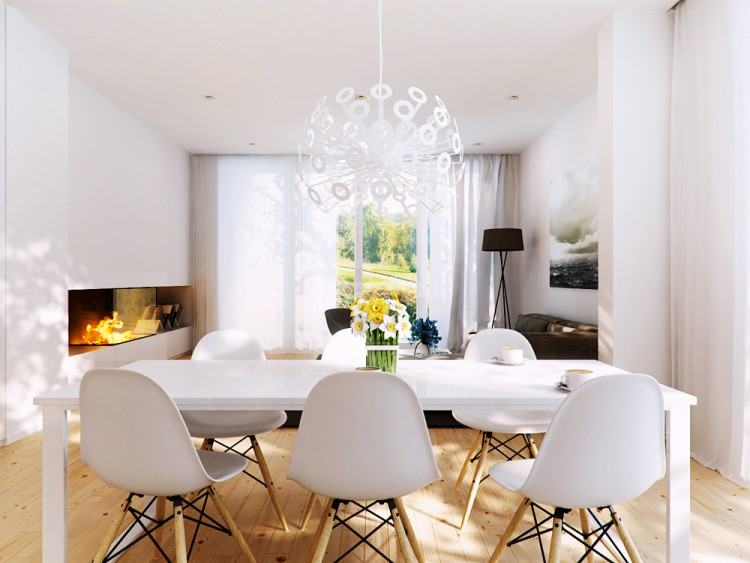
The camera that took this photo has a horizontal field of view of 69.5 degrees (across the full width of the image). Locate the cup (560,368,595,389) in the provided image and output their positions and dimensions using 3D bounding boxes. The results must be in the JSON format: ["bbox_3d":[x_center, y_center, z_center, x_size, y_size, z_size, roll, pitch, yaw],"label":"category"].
[{"bbox_3d":[1.006,0.474,2.698,0.128,0.110,0.108,-1,1,-5],"label":"cup"}]

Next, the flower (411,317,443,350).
[{"bbox_3d":[0.491,0.517,5.350,0.246,0.318,0.300,-1,0,4],"label":"flower"}]

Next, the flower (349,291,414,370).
[{"bbox_3d":[0.027,0.298,3.031,0.304,0.460,0.359,1,-7,-2],"label":"flower"}]

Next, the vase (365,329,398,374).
[{"bbox_3d":[0.004,0.379,2.978,0.201,0.290,0.195,1,-5,-3],"label":"vase"}]

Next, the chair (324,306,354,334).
[{"bbox_3d":[-0.425,0.419,6.255,0.305,0.341,0.360,1,0,10],"label":"chair"}]
